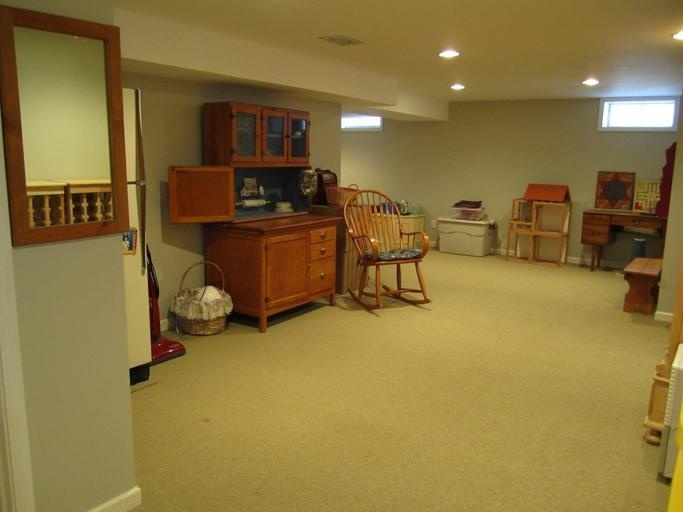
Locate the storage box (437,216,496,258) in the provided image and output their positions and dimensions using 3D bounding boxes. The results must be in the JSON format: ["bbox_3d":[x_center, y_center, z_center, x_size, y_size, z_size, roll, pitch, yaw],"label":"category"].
[{"bbox_3d":[1.980,-0.393,8.310,0.895,0.597,0.567,8,27,23],"label":"storage box"}]

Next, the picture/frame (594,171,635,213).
[{"bbox_3d":[3.863,-0.925,7.273,0.483,0.589,0.059,6,-20,28],"label":"picture/frame"}]

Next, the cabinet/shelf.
[{"bbox_3d":[-0.835,-0.317,4.742,0.856,2.441,2.002,3,7,27],"label":"cabinet/shelf"}]

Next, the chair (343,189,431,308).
[{"bbox_3d":[0.458,-0.090,5.443,0.701,1.277,0.818,-3,5,-24],"label":"chair"}]

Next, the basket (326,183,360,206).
[{"bbox_3d":[0.005,-0.658,5.516,0.257,0.216,0.306,-4,7,-24],"label":"basket"}]

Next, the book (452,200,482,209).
[{"bbox_3d":[1.987,-0.814,8.138,0.429,0.107,0.286,3,11,11],"label":"book"}]

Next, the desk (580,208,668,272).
[{"bbox_3d":[3.786,-0.179,7.346,0.369,0.732,1.012,29,15,24],"label":"desk"}]
